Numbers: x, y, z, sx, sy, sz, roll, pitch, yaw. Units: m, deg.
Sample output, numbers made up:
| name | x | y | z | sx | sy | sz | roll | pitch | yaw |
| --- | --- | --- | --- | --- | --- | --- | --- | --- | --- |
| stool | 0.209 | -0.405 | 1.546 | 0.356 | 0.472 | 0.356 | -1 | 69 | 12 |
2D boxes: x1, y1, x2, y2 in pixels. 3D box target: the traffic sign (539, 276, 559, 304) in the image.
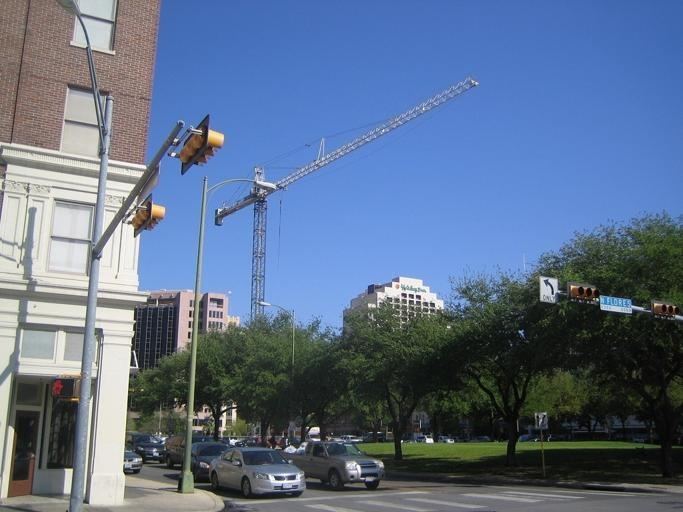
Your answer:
| name | x | y | z | sx | sy | sz | roll | pitch | yaw |
| --- | --- | --- | --- | --- | --- | --- | --- | --- | --- |
| traffic sign | 8.208 | 1.353 | 29.700 | 1.167 | 1.228 | 0.089 | 7 | -14 | -36 |

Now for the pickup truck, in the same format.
| name | x | y | z | sx | sy | sz | roll | pitch | yaw |
| --- | --- | --- | --- | --- | --- | --- | --- | --- | --- |
| pickup truck | -0.267 | 9.112 | 33.032 | 1.770 | 1.397 | 3.665 | 10 | -20 | -30 |

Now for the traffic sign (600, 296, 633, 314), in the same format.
| name | x | y | z | sx | sy | sz | roll | pitch | yaw |
| --- | --- | --- | --- | --- | --- | --- | --- | --- | --- |
| traffic sign | 11.283 | 1.987 | 30.880 | 1.696 | 0.681 | 0.341 | 9 | -18 | -23 |
